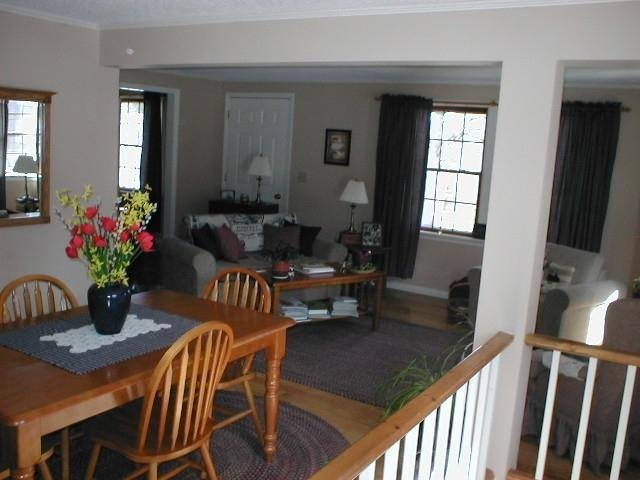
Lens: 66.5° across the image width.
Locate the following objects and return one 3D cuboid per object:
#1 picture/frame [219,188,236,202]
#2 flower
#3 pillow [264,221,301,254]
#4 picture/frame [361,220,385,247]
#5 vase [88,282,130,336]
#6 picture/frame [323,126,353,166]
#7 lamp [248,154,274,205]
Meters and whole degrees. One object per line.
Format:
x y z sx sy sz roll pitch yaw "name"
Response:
-1.497 -0.728 7.881 0.309 0.266 0.173 -1 2 -20 "picture/frame"
-1.189 0.064 2.766 0.481 0.557 0.473 -6 12 -32 "flower"
-0.491 -0.016 6.209 0.392 0.394 0.119 -2 -5 3 "pillow"
0.706 -0.089 6.540 0.351 0.414 0.056 -2 8 -10 "picture/frame"
-1.119 0.353 2.624 0.252 0.298 0.252 1 3 -7 "vase"
0.279 -1.416 7.256 0.527 0.715 0.050 5 7 22 "picture/frame"
-0.940 -0.961 7.624 0.363 0.735 0.637 2 12 -6 "lamp"
